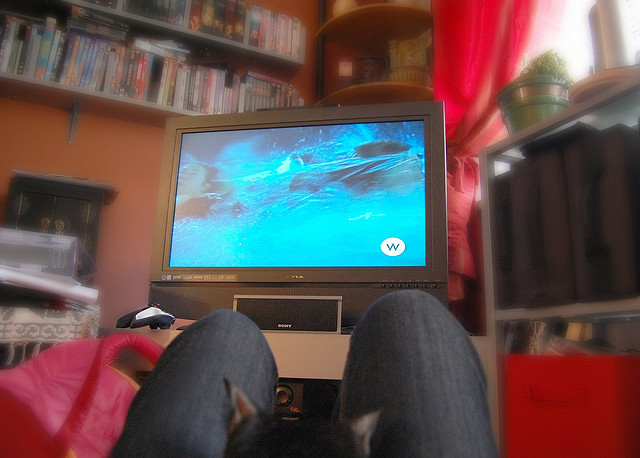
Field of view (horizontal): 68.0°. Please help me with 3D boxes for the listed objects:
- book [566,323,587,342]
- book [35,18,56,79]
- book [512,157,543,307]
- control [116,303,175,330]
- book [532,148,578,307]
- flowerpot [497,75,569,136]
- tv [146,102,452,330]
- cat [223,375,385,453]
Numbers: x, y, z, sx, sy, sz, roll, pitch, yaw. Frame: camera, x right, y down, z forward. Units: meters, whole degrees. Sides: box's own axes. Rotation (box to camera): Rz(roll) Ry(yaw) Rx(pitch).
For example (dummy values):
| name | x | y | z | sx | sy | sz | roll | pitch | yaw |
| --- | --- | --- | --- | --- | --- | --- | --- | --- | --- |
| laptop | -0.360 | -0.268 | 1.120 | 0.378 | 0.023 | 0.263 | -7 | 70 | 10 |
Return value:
| name | x | y | z | sx | sy | sz | roll | pitch | yaw |
| --- | --- | --- | --- | --- | --- | --- | --- | --- | --- |
| book | 0.853 | 0.344 | 1.578 | 0.027 | 0.048 | 0.050 | 13 | -14 | -31 |
| book | -1.272 | -0.837 | 2.199 | 0.050 | 0.283 | 0.037 | 8 | -9 | -39 |
| book | 0.654 | 0.019 | 1.483 | 0.127 | 0.520 | 0.022 | -5 | 21 | 15 |
| control | -0.530 | 0.253 | 1.453 | 0.103 | 0.050 | 0.092 | 1 | -5 | -35 |
| book | 0.682 | 0.011 | 1.445 | 0.133 | 0.039 | 0.556 | -6 | -54 | 24 |
| flowerpot | 0.711 | -0.434 | 1.617 | 0.192 | 0.136 | 0.194 | -13 | -21 | 39 |
| tv | -0.056 | -0.035 | 1.571 | 0.740 | 0.615 | 0.280 | 0 | -14 | 4 |
| cat | -0.040 | 0.299 | 0.829 | 0.273 | 0.204 | 0.092 | 4 | 22 | -4 |
